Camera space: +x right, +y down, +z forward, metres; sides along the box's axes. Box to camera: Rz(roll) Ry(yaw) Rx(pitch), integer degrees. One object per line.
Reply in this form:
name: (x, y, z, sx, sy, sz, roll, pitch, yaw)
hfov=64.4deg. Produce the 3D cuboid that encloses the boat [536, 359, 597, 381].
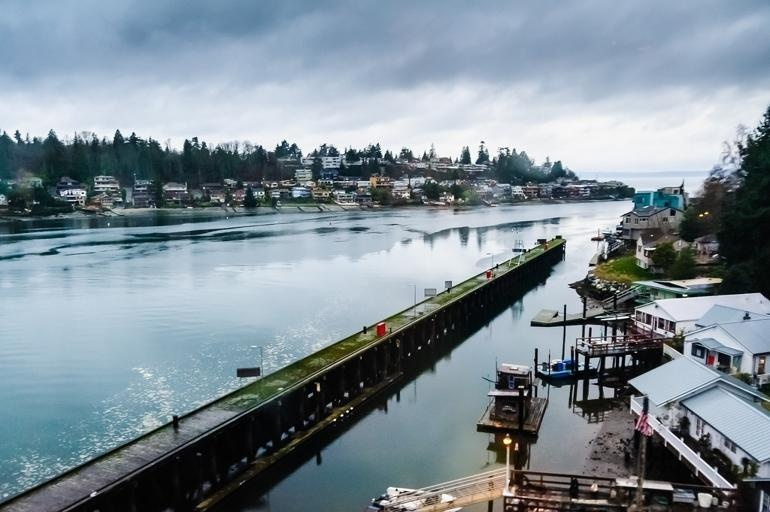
boat: (11.399, 7.142, 38.338, 2.550, 0.876, 1.761, -1, 2, -2)
